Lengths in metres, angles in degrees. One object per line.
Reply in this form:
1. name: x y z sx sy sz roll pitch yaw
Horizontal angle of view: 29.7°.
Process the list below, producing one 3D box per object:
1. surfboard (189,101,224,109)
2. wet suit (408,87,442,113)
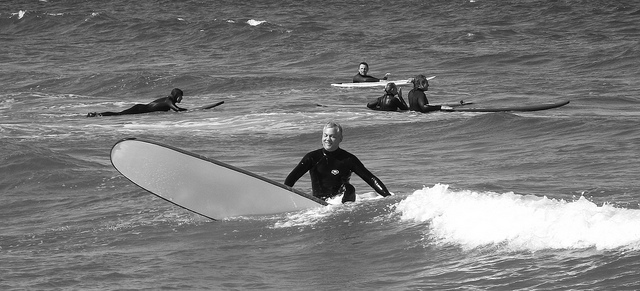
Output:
1. surfboard: -7.082 -2.613 76.051 1.944 0.490 1.940 -3 10 -6
2. wet suit: 6.315 -2.752 74.217 1.440 1.654 1.500 -21 33 -15
